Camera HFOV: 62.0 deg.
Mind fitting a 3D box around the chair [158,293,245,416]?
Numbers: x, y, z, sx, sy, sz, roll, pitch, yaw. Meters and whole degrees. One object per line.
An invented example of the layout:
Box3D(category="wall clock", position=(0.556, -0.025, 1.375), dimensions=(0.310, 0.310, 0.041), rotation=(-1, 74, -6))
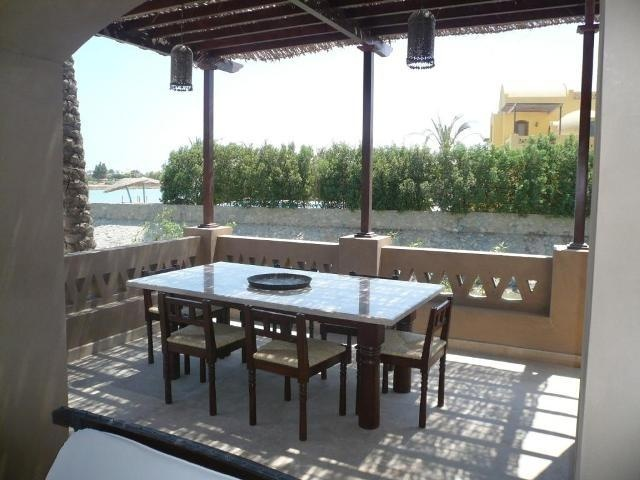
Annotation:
Box3D(category="chair", position=(-0.926, 0.827, 4.255), dimensions=(0.442, 0.958, 0.582), rotation=(5, 11, 18))

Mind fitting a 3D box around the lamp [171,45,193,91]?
Box3D(category="lamp", position=(-1.282, -1.552, 4.876), dimensions=(0.204, 0.422, 0.238), rotation=(-2, 9, -18))

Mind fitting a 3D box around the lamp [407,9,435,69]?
Box3D(category="lamp", position=(0.776, -1.521, 4.062), dimensions=(0.209, 0.426, 0.198), rotation=(2, 9, 11))

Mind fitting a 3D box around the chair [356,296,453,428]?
Box3D(category="chair", position=(0.692, 0.854, 4.042), dimensions=(0.506, 0.919, 0.492), rotation=(7, 9, 33))
